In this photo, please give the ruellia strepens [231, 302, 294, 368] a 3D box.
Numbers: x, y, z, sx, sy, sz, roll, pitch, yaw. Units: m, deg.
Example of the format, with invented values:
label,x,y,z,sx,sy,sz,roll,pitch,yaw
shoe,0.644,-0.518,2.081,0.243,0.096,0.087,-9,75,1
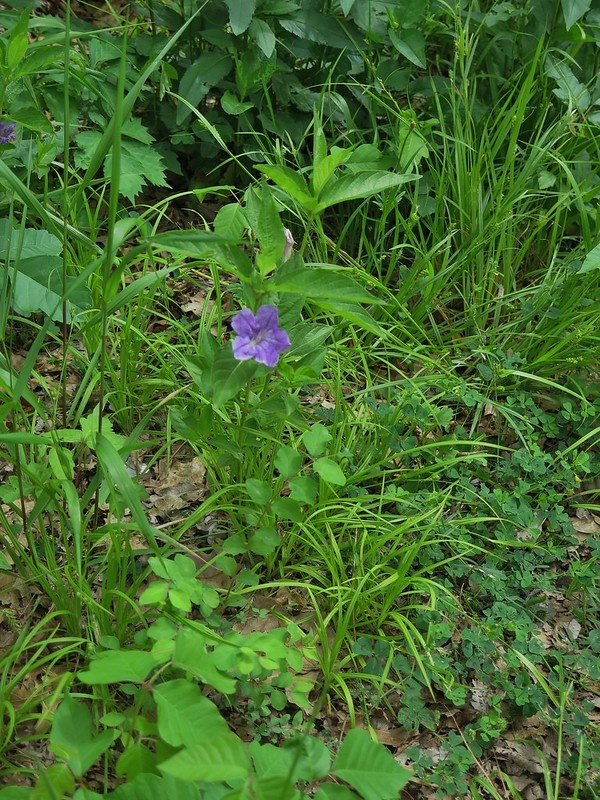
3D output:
label,x,y,z,sx,sy,sz,roll,pitch,yaw
ruellia strepens,-0.094,-0.135,1.527,0.126,0.095,0.118,-20,65,-28
